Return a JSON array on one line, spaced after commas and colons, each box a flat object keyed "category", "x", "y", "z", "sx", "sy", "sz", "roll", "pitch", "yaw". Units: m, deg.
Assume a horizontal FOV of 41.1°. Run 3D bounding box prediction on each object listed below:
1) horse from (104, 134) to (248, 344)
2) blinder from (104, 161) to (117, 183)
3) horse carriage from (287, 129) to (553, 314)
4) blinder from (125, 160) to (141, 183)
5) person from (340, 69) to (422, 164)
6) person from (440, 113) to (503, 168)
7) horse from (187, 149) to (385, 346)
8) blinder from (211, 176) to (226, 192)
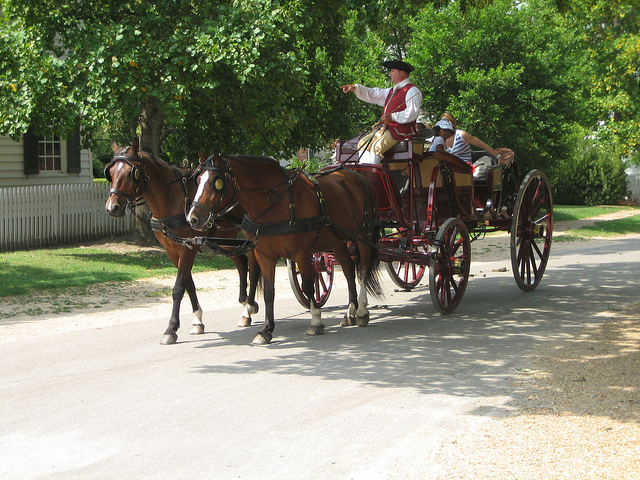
[{"category": "horse", "x": -2.023, "y": 0.026, "z": 13.913, "sx": 1.205, "sy": 2.985, "sz": 4.233, "roll": 1, "pitch": 2, "yaw": 26}, {"category": "blinder", "x": -3.187, "y": -1.012, "z": 12.826, "sx": 0.166, "sy": 0.270, "sz": 0.266, "roll": 13, "pitch": 17, "yaw": 33}, {"category": "horse carriage", "x": 2.365, "y": -0.431, "z": 15.897, "sx": 2.940, "sy": 2.202, "sz": 5.042, "roll": 4, "pitch": 10, "yaw": 37}, {"category": "blinder", "x": -2.746, "y": -0.974, "z": 12.630, "sx": 0.124, "sy": 0.263, "sz": 0.166, "roll": -1, "pitch": 16, "yaw": 4}, {"category": "person", "x": 1.005, "y": -1.989, "z": 14.589, "sx": 1.478, "sy": 1.891, "sz": 0.847, "roll": -2, "pitch": 12, "yaw": -1}, {"category": "person", "x": 2.681, "y": -1.772, "z": 15.713, "sx": 1.154, "sy": 0.795, "sz": 1.249, "roll": 6, "pitch": 0, "yaw": -3}, {"category": "horse", "x": -0.369, "y": 0.038, "z": 13.233, "sx": 1.605, "sy": 3.085, "sz": 3.322, "roll": 8, "pitch": 18, "yaw": 33}, {"category": "blinder", "x": -1.445, "y": -0.778, "z": 12.050, "sx": 0.204, "sy": 0.221, "sz": 0.082, "roll": -5, "pitch": 16, "yaw": -11}]
